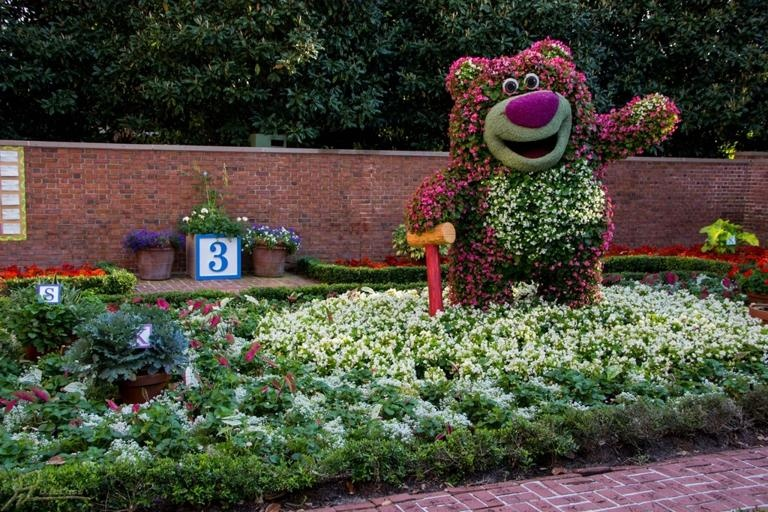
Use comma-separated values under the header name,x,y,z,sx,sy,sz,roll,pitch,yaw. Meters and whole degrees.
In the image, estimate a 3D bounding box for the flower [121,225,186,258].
name,x,y,z,sx,sy,sz,roll,pitch,yaw
flower,-4.467,-0.265,15.230,1.133,0.445,0.621,-3,7,-44

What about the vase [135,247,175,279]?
name,x,y,z,sx,sy,sz,roll,pitch,yaw
vase,-4.469,0.156,15.107,0.615,0.478,0.611,1,2,-8

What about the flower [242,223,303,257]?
name,x,y,z,sx,sy,sz,roll,pitch,yaw
flower,-2.296,-0.317,15.808,1.113,0.529,0.671,1,5,-4

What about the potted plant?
name,x,y,z,sx,sy,sz,roll,pitch,yaw
potted plant,-2.914,1.155,8.896,1.303,1.049,0.553,0,5,-19

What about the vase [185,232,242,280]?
name,x,y,z,sx,sy,sz,roll,pitch,yaw
vase,-3.442,0.025,15.679,0.908,0.923,0.894,0,-1,-32

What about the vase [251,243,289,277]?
name,x,y,z,sx,sy,sz,roll,pitch,yaw
vase,-2.363,0.078,16.015,0.894,0.706,0.906,0,6,-16
